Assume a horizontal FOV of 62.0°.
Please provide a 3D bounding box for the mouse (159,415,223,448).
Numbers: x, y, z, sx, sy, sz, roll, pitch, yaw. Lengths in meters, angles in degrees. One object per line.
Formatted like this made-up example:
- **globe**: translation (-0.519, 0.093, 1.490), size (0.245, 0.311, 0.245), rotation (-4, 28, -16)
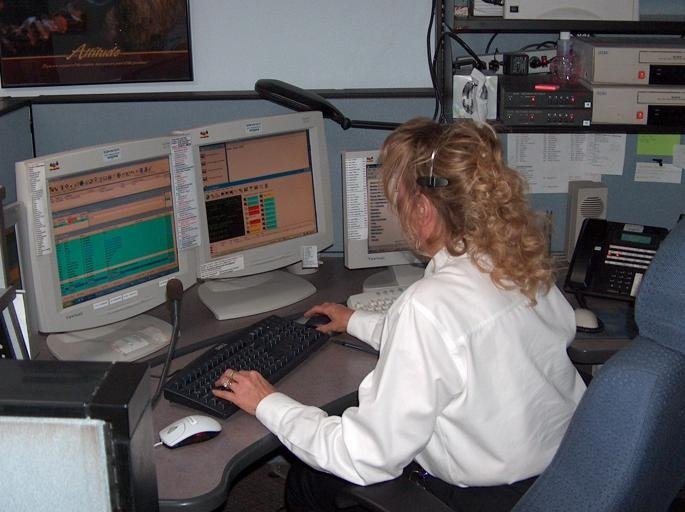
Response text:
- **mouse**: translation (-0.342, 0.384, 1.269), size (0.137, 0.047, 0.081), rotation (-4, 10, -35)

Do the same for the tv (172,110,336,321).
- **tv**: translation (-0.281, -0.170, 1.838), size (0.148, 0.616, 0.560), rotation (20, 27, 40)

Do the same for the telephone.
- **telephone**: translation (0.886, 0.006, 1.877), size (0.357, 0.342, 0.143), rotation (13, -12, 26)

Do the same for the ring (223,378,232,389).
- **ring**: translation (-0.277, 0.301, 1.352), size (0.021, 0.021, 0.005), rotation (39, 2, 20)

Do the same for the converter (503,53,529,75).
- **converter**: translation (0.564, -0.623, 1.877), size (0.073, 0.067, 0.074), rotation (2, 7, -13)

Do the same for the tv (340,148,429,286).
- **tv**: translation (0.219, -0.127, 1.936), size (0.384, 0.474, 0.174), rotation (1, 11, 35)

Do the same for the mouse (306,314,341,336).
- **mouse**: translation (-0.057, 0.204, 1.676), size (0.068, 0.024, 0.032), rotation (8, 39, 21)

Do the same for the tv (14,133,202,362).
- **tv**: translation (-0.630, -0.016, 1.527), size (0.506, 0.588, 0.329), rotation (-13, 20, -43)

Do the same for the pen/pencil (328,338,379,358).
- **pen/pencil**: translation (0.031, 0.259, 1.607), size (0.099, 0.020, 0.011), rotation (19, 57, 8)
